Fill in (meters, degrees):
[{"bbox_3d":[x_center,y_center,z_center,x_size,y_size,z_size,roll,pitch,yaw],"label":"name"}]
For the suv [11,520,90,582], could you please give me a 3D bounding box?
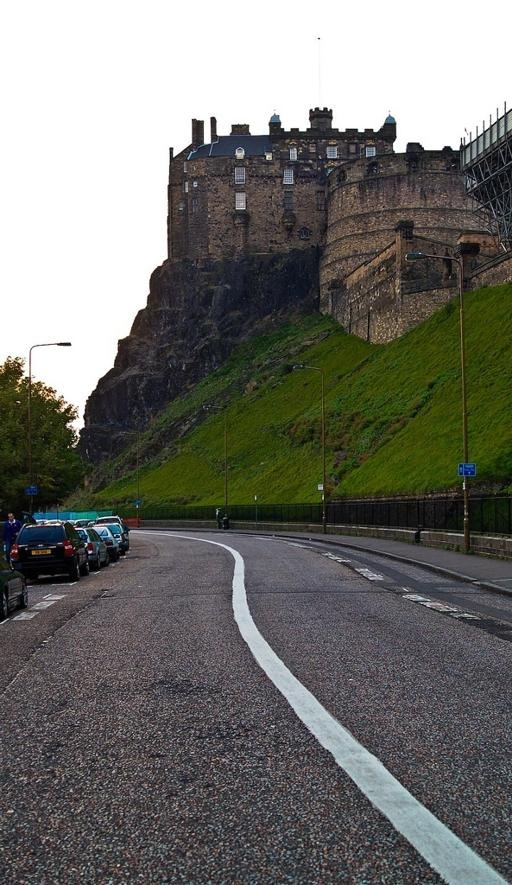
[{"bbox_3d":[-4.888,2.601,23.357,1.410,1.299,1.878,-3,0,0],"label":"suv"}]
